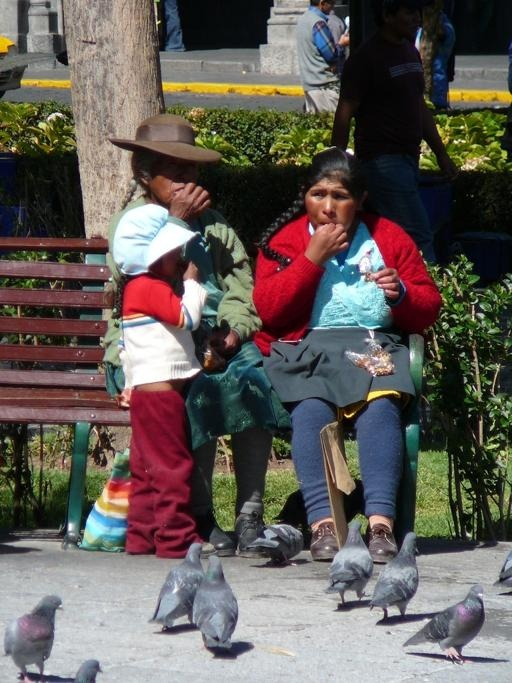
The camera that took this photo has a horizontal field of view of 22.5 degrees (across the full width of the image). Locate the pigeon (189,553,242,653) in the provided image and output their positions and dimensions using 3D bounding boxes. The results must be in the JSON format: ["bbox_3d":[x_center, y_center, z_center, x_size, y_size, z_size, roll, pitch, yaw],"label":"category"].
[{"bbox_3d":[-0.148,0.684,3.323,0.104,0.163,0.276,1,20,-6],"label":"pigeon"}]

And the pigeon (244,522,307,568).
[{"bbox_3d":[0.062,0.673,4.283,0.118,0.075,0.204,12,-7,23],"label":"pigeon"}]

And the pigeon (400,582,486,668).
[{"bbox_3d":[0.499,0.719,3.339,0.117,0.222,0.211,-2,11,-38],"label":"pigeon"}]

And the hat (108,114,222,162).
[{"bbox_3d":[-0.335,-0.748,4.716,0.288,0.100,0.268,6,4,42],"label":"hat"}]

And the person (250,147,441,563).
[{"bbox_3d":[0.291,0.015,4.523,0.675,1.411,0.750,2,6,8],"label":"person"}]

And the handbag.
[{"bbox_3d":[-0.600,0.620,4.993,0.221,0.376,0.345,14,-4,2],"label":"handbag"}]

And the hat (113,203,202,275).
[{"bbox_3d":[-0.359,-0.346,4.384,0.203,0.246,0.221,-2,7,-31],"label":"hat"}]
